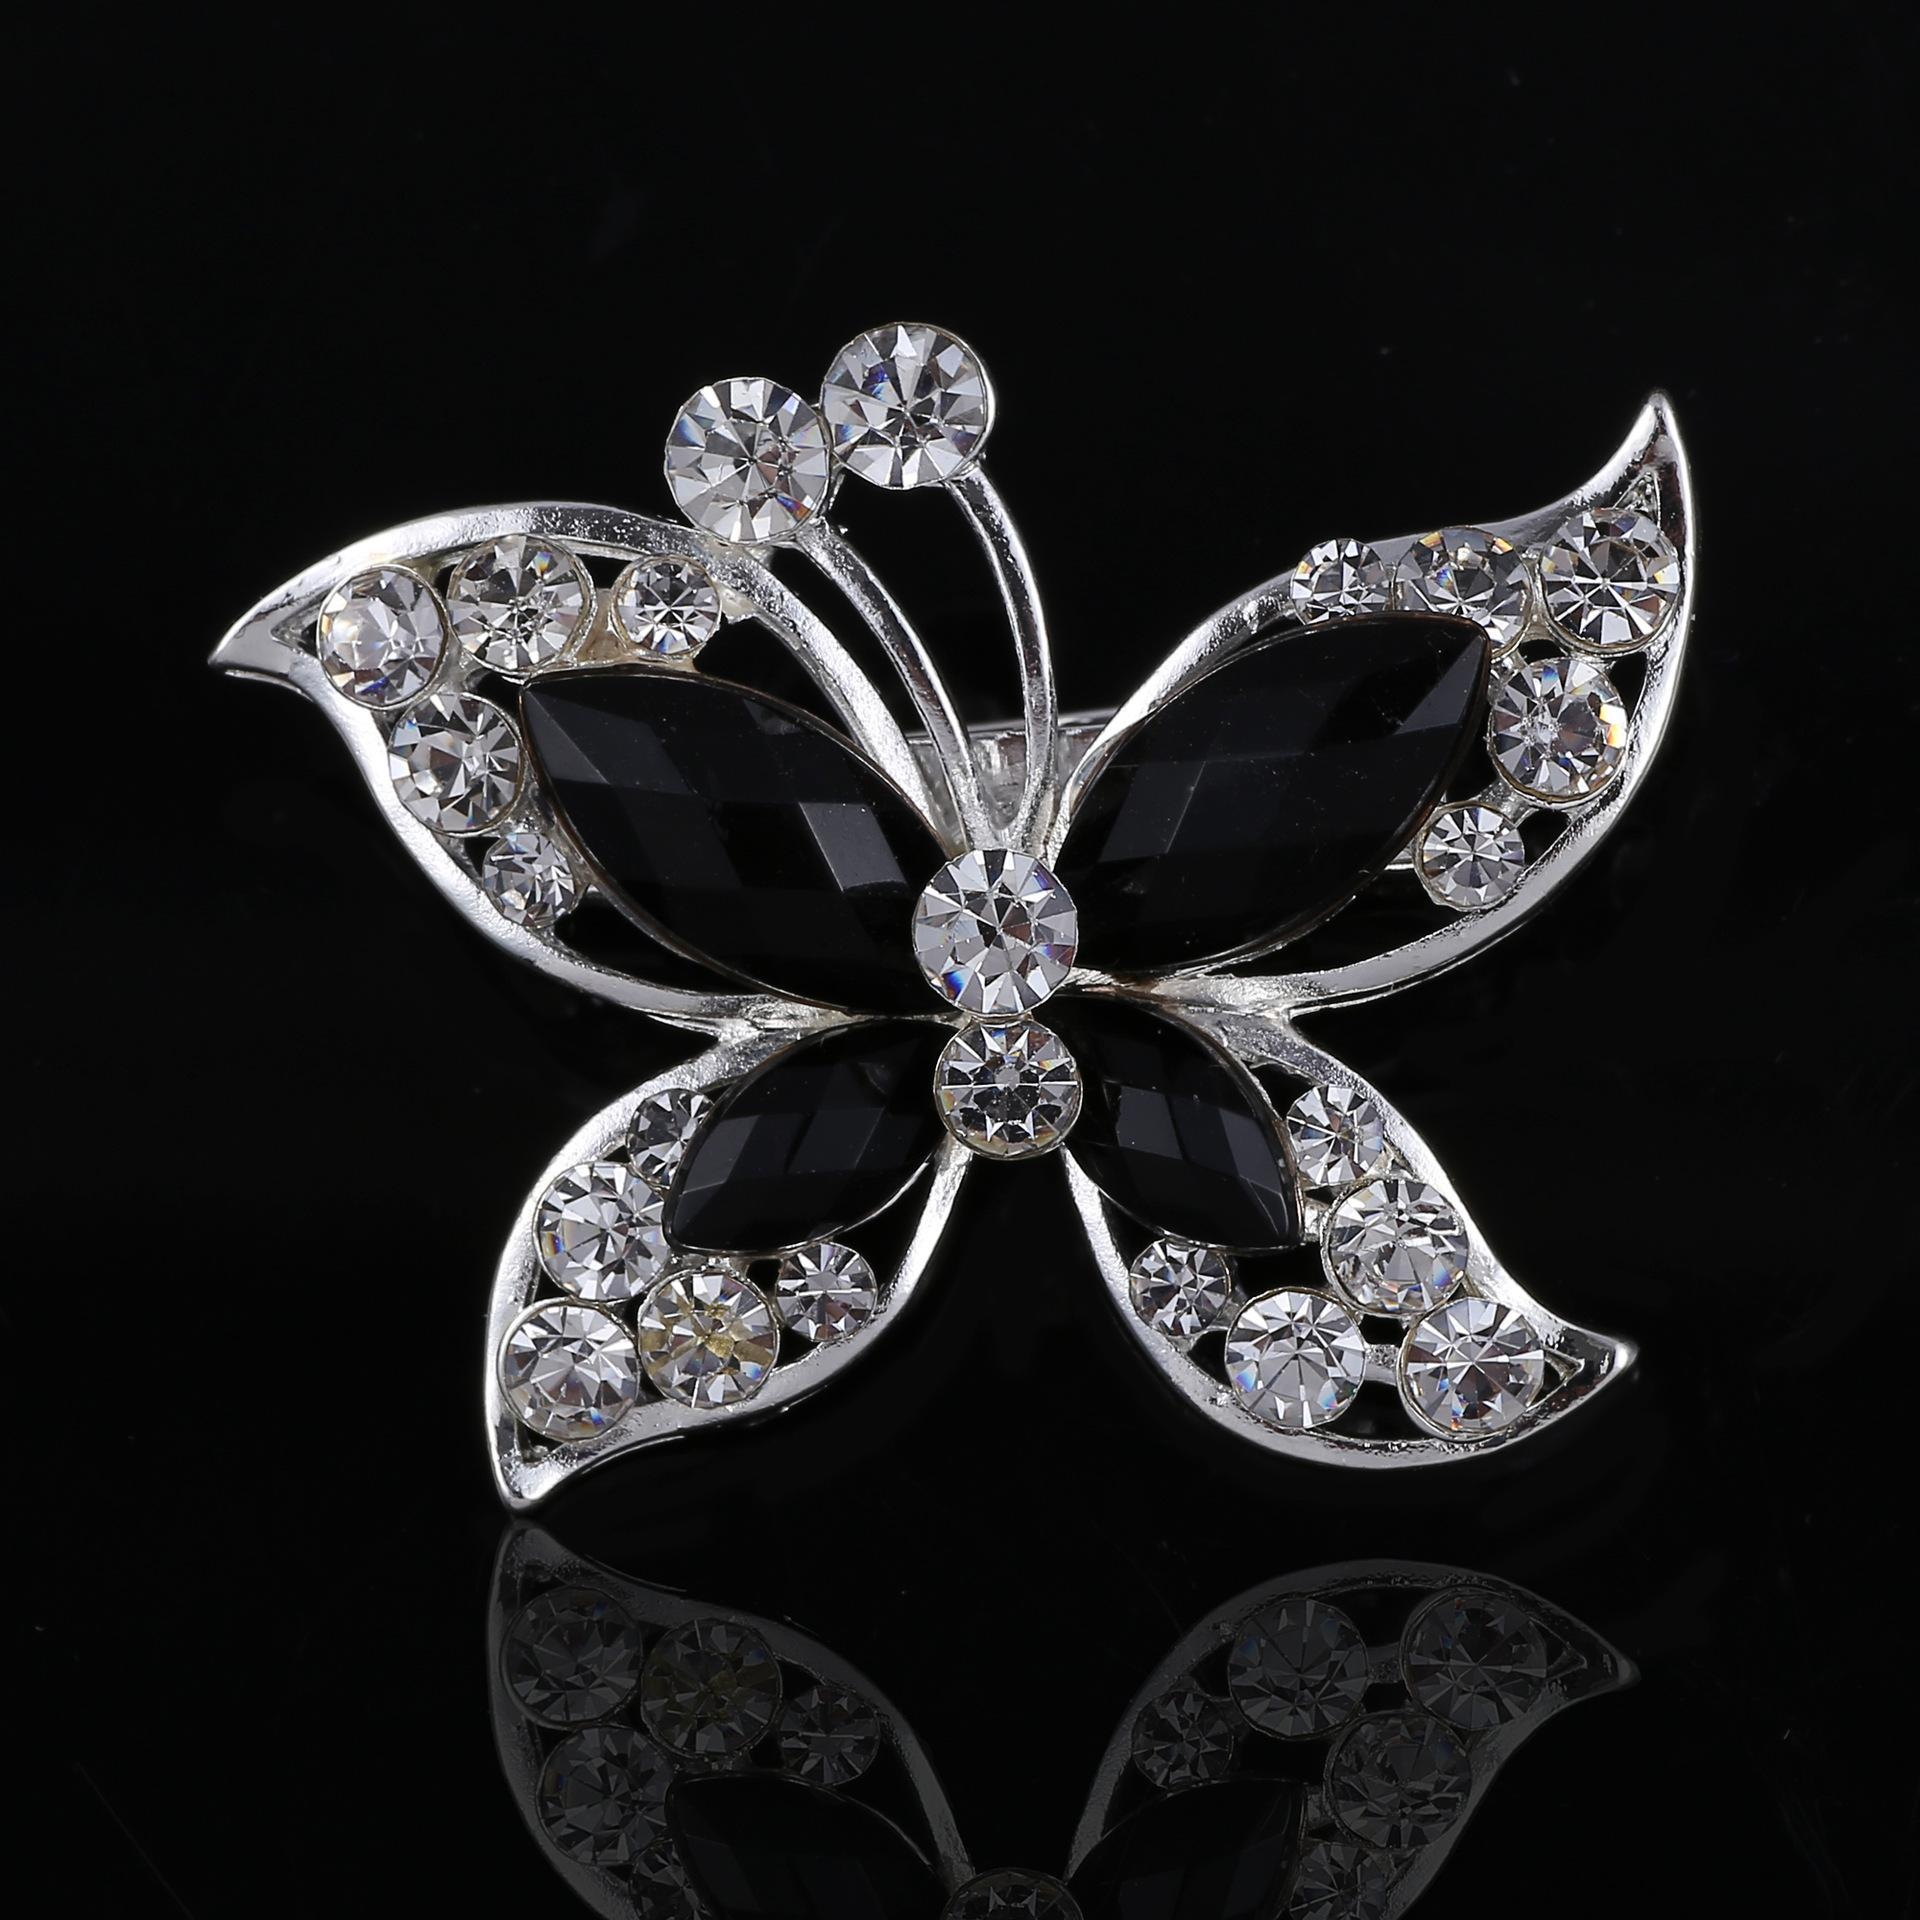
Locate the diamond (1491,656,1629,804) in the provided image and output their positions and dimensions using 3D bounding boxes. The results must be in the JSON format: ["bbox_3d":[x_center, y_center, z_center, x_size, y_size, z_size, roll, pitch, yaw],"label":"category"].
[{"bbox_3d":[0.360,-0.138,1.639,0.084,0.026,0.082,-11,80,3],"label":"diamond"}]

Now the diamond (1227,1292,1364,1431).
[{"bbox_3d":[0.207,0.243,1.669,0.082,0.031,0.094,-15,51,-3],"label":"diamond"}]

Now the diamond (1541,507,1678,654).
[{"bbox_3d":[0.392,-0.228,1.640,0.085,0.021,0.078,-4,81,4],"label":"diamond"}]

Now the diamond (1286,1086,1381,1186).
[{"bbox_3d":[0.229,0.104,1.663,0.056,0.016,0.057,42,87,-4],"label":"diamond"}]
